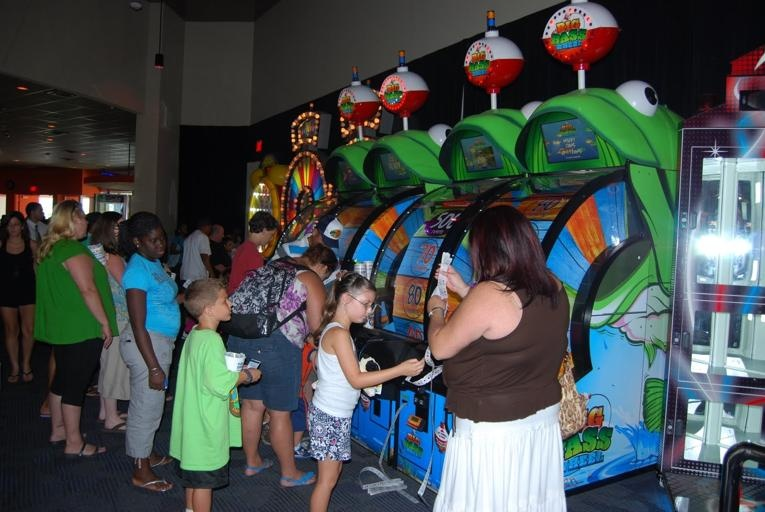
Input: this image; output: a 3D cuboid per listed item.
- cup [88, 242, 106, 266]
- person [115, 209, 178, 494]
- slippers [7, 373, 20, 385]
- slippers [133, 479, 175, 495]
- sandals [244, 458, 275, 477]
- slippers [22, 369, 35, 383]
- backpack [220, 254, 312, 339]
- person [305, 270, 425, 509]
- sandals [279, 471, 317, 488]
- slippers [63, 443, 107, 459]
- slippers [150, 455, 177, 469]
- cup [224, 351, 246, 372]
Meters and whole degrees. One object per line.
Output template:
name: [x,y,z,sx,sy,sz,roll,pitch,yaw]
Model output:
cup: [-2.294,-0.009,4.454,0.104,0.161,0.116,-28,10,19]
person: [-1.682,0.693,4.032,0.397,2.137,0.446,-2,1,-44]
slippers: [-3.853,1.305,5.803,0.072,0.059,0.136,6,-6,-3]
slippers: [-1.652,1.648,3.995,0.217,0.057,0.112,4,4,14]
sandals: [-0.950,1.626,4.228,0.075,0.081,0.212,3,8,31]
slippers: [-3.725,1.275,5.835,0.066,0.134,0.051,6,28,1]
backpack: [-0.815,0.251,3.991,0.485,0.286,0.703,20,27,-33]
person: [-0.160,0.855,3.450,0.675,1.443,0.274,-2,0,22]
sandals: [-0.615,1.623,4.062,0.241,0.103,0.098,-4,6,-22]
slippers: [-2.343,1.558,4.384,0.286,0.085,0.117,-1,13,-21]
slippers: [-1.710,1.600,4.335,0.069,0.055,0.203,9,11,28]
cup: [-0.889,0.650,3.362,0.104,0.093,0.119,0,-8,2]
